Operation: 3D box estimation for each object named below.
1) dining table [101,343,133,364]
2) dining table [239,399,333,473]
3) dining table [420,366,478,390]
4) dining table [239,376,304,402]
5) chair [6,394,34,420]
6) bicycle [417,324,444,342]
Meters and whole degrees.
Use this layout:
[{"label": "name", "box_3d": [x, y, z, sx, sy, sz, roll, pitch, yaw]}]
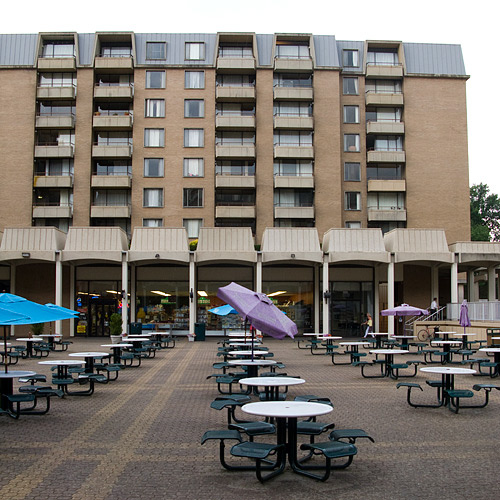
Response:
[{"label": "dining table", "box_3d": [-4.503, 3.542, 23.725, 1.042, 0.613, 0.982, 1, -3, -24]}, {"label": "dining table", "box_3d": [0.567, 2.884, 11.024, 1.337, 0.864, 1.306, 2, -4, -41]}, {"label": "dining table", "box_3d": [5.305, 3.467, 18.707, 1.659, 0.746, 1.577, -2, -3, 16]}, {"label": "dining table", "box_3d": [0.431, 2.765, 13.922, 1.315, 0.420, 1.224, 0, -5, -1]}, {"label": "chair", "box_3d": [-4.872, 3.338, 14.930, 0.536, 0.507, 1.741, 1, -7, -18]}, {"label": "bicycle", "box_3d": [9.557, 4.425, 37.010, 1.193, 0.915, 1.221, -2, -7, 0]}]
